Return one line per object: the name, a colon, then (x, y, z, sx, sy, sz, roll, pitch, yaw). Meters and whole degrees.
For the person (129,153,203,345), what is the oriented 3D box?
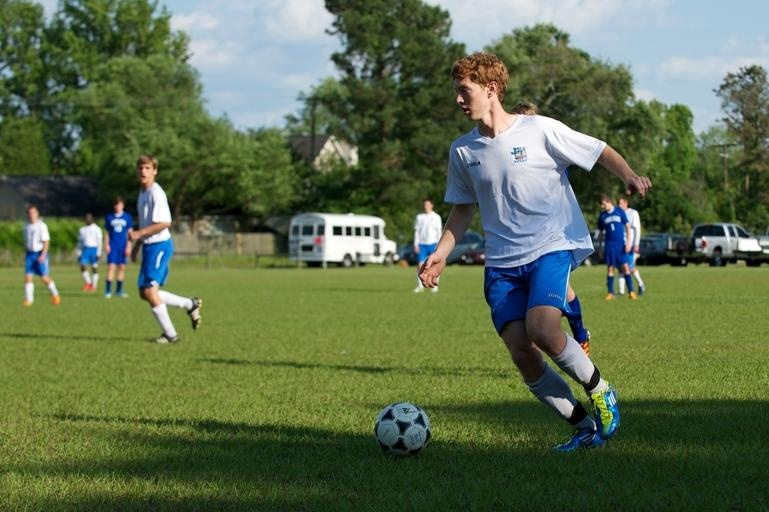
person: (-3.199, -0.091, 14.959, 0.892, 2.537, 1.270, 0, -1, -2)

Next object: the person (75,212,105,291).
person: (-6.393, -0.052, 23.666, 0.537, 1.690, 0.498, 0, -3, -24)

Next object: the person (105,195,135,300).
person: (-5.336, -0.160, 21.733, 0.640, 2.007, 0.532, 1, 0, -45)

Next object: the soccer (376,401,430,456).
soccer: (0.171, 1.655, 10.375, 0.467, 0.431, 0.620, 0, -1, 5)

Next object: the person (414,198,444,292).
person: (0.912, -0.227, 22.484, 0.606, 1.870, 0.423, -1, 8, 9)
